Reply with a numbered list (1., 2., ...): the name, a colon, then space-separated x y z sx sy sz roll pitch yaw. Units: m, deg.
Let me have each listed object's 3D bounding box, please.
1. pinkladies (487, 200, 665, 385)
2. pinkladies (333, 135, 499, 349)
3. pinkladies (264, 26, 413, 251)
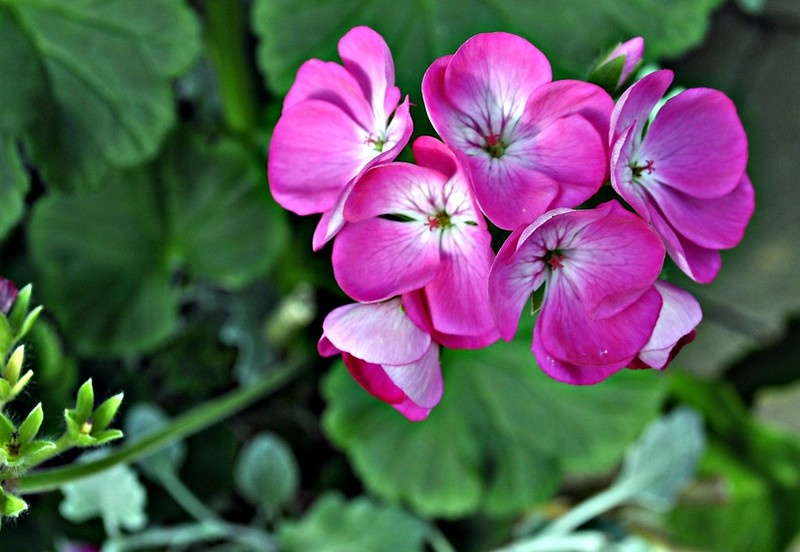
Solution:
1. pinkladies: 0.174 0.005 0.971 0.253 0.110 0.275 30 3 -8
2. pinkladies: 0.020 -0.029 0.890 0.160 0.233 0.080 -12 1 16
3. pinkladies: -0.042 -0.129 0.959 0.192 0.242 0.112 -5 -9 44
